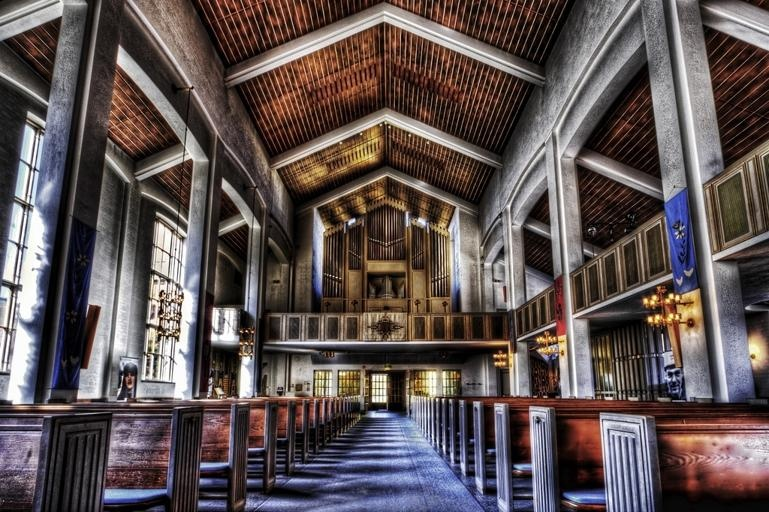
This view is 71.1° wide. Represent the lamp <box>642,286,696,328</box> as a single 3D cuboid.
[{"bbox_3d":[5.118,0.903,9.743,0.511,0.766,1.599,-1,-5,16],"label":"lamp"}]
